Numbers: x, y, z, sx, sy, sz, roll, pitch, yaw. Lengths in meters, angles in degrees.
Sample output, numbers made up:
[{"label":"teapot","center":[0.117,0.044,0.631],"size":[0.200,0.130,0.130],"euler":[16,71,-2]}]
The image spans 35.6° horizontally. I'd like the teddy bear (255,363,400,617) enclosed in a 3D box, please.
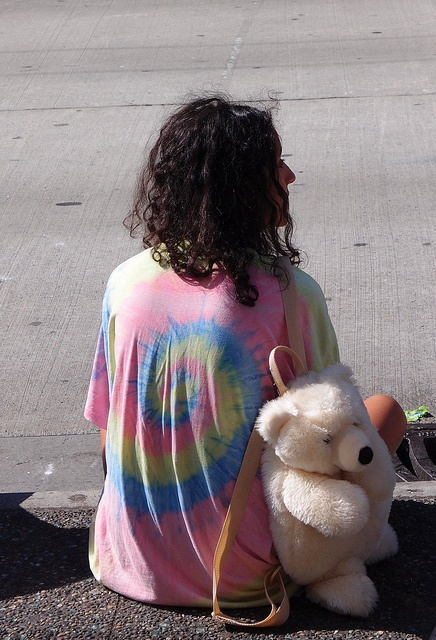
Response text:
[{"label":"teddy bear","center":[0.286,0.450,1.786],"size":[0.343,0.632,0.411],"euler":[1,43,12]}]
